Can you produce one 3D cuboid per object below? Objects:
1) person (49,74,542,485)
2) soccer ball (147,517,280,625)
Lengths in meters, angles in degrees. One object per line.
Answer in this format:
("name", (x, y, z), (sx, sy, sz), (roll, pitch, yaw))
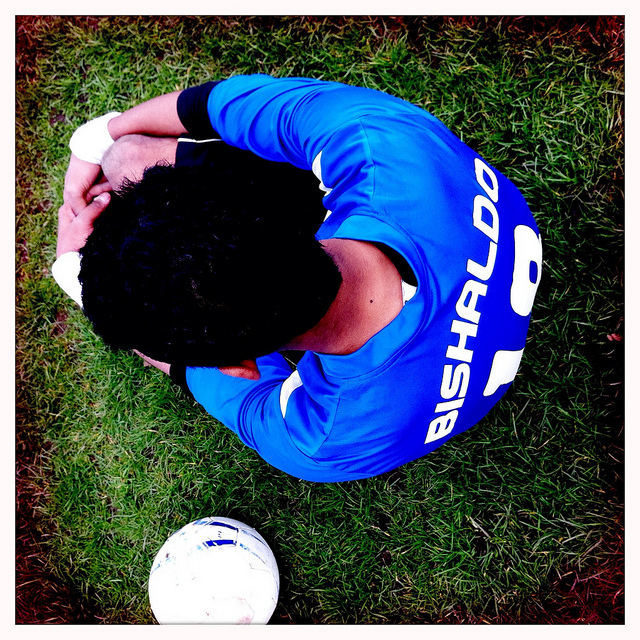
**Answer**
("person", (0.003, -0.143, 2.069), (1.405, 0.787, 1.403), (12, 21, 2))
("soccer ball", (-0.382, 0.924, 2.407), (0.445, 0.366, 0.172), (11, -5, 2))
